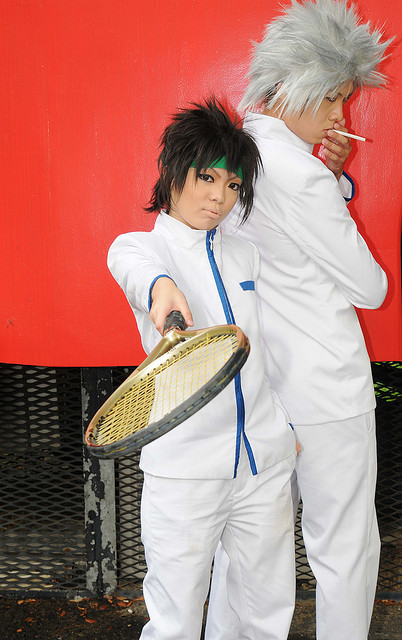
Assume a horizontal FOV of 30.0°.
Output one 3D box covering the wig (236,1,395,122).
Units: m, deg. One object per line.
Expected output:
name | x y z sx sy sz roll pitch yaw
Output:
wig | 0.274 -0.667 2.030 0.375 0.230 0.331 -8 -44 -16

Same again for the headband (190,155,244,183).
headband | 0.048 -0.349 1.714 0.139 0.045 0.048 -1 -3 -28

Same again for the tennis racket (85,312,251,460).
tennis racket | -0.066 0.105 1.342 0.281 0.255 0.254 -1 -3 -24
